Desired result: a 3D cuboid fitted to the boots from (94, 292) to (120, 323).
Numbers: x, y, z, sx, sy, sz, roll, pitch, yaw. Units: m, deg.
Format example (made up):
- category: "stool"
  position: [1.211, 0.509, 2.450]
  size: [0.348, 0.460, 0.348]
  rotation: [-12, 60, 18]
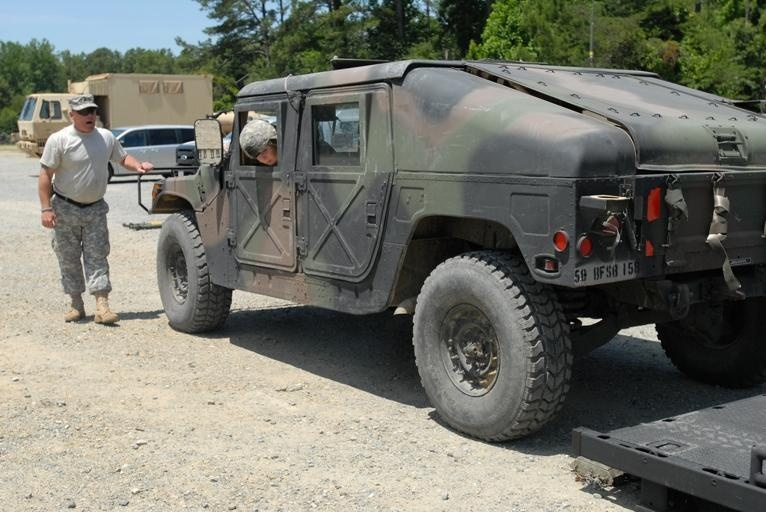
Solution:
- category: "boots"
  position: [-3.142, 0.614, 8.259]
  size: [0.187, 0.363, 0.476]
  rotation: [1, -2, -43]
